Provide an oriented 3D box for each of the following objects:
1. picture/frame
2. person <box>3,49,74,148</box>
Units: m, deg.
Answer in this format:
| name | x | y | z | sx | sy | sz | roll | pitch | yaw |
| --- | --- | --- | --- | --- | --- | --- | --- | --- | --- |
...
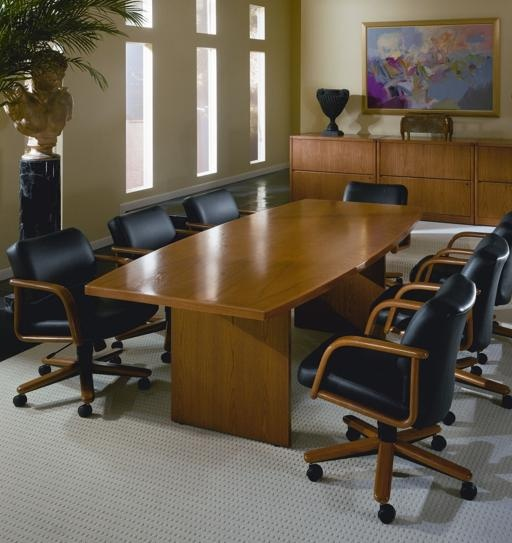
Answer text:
| name | x | y | z | sx | sy | sz | roll | pitch | yaw |
| --- | --- | --- | --- | --- | --- | --- | --- | --- | --- |
| picture/frame | 2.328 | -2.662 | 6.318 | 1.640 | 1.048 | 0.058 | 3 | 13 | 24 |
| person | -1.710 | -1.313 | 3.901 | 0.488 | 0.746 | 0.564 | -6 | 10 | -27 |
